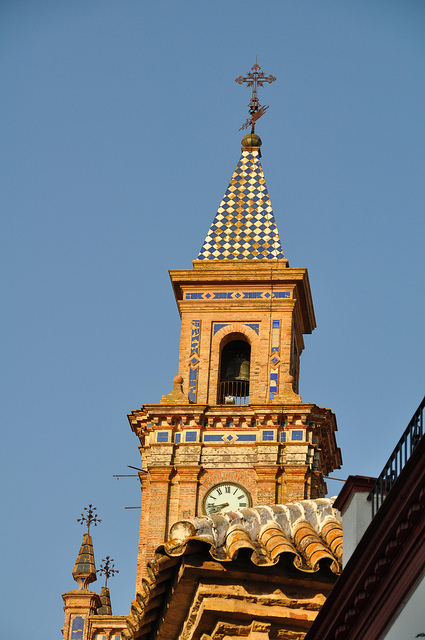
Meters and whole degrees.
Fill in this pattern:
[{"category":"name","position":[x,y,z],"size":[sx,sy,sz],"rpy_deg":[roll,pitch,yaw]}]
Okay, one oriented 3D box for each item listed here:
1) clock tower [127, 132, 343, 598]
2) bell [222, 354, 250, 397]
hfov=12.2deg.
[{"category":"clock tower","position":[0.735,-0.163,53.071],"size":[4.448,16.019,2.459],"rpy_deg":[0,-43,5]},{"category":"bell","position":[0.645,1.396,52.721],"size":[0.719,0.969,0.849],"rpy_deg":[6,-30,-1]}]
